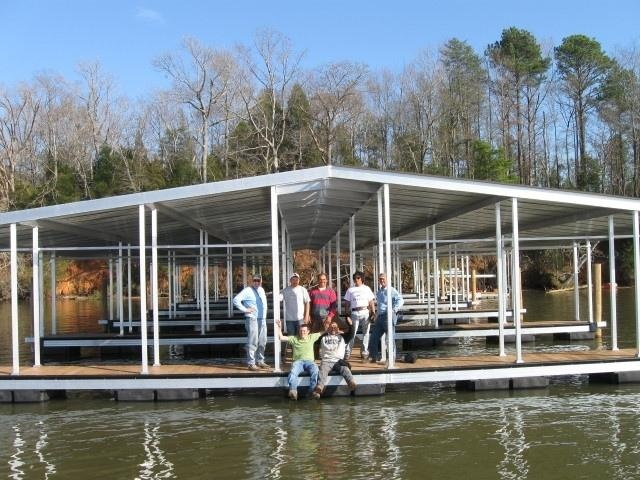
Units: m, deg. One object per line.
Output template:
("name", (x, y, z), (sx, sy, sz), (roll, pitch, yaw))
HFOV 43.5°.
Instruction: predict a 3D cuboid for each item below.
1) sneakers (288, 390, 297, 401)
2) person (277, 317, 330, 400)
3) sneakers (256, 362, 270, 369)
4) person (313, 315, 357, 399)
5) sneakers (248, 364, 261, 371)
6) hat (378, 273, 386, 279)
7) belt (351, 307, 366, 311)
("sneakers", (-0.610, 3.492, 18.100), (0.165, 0.125, 0.265), (5, -25, -3))
("person", (-0.371, 2.547, 18.081), (1.285, 0.988, 1.951), (-1, 35, -2))
("sneakers", (-1.348, 2.952, 18.960), (0.340, 0.229, 0.115), (-2, 1, -5))
("person", (0.316, 2.706, 18.539), (0.882, 1.722, 0.576), (0, -12, -1))
("sneakers", (-1.541, 2.955, 18.797), (0.293, 0.154, 0.426), (-2, 6, -7))
("hat", (1.471, 0.858, 19.181), (0.103, 0.107, 0.135), (3, 4, 30))
("belt", (0.918, 1.658, 19.377), (0.308, 0.085, 0.091), (-1, 6, 8))
